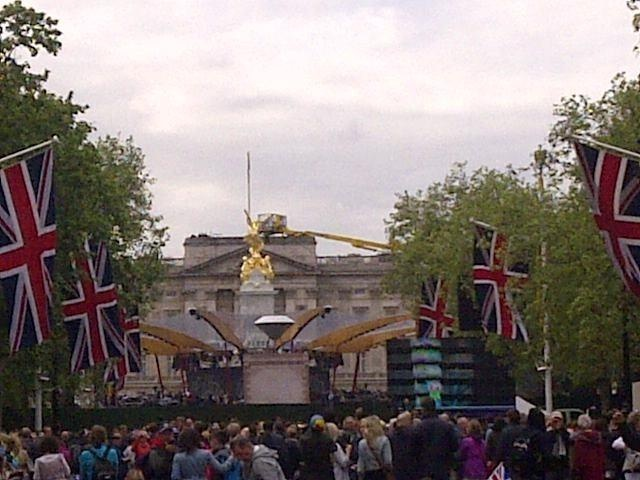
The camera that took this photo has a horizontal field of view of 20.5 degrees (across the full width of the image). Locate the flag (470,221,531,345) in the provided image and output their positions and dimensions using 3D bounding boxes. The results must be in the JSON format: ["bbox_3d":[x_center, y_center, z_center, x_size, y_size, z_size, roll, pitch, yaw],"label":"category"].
[{"bbox_3d":[6.872,1.613,67.493,1.834,4.571,1.847,-1,-9,0],"label":"flag"}]

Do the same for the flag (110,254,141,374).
[{"bbox_3d":[-7.622,2.566,69.555,0.938,5.339,0.732,-9,-5,11],"label":"flag"}]

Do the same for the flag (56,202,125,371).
[{"bbox_3d":[-7.965,2.348,64.993,1.776,5.212,3.909,-2,-9,6],"label":"flag"}]
